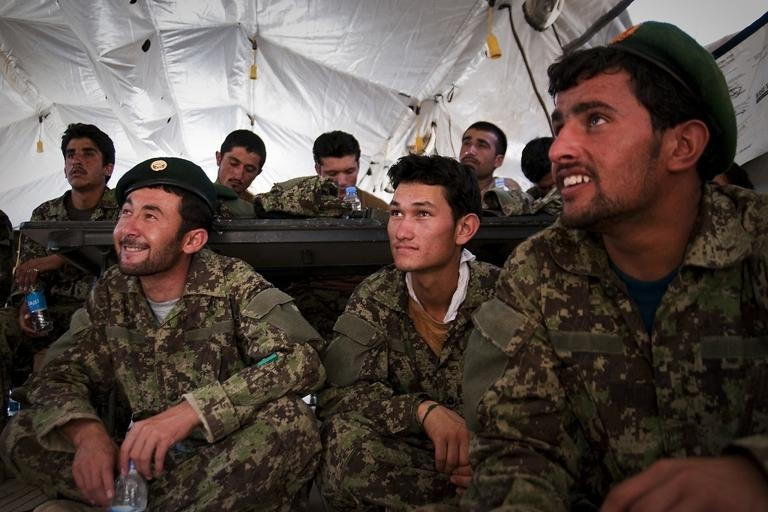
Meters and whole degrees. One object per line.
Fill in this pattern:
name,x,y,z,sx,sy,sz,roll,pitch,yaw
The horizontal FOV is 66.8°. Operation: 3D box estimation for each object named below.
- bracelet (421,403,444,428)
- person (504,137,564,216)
bracelet,0.214,0.756,2.820,0.080,0.027,0.107,15,36,22
person,1.200,-0.633,4.637,0.557,0.332,0.768,-14,2,16
